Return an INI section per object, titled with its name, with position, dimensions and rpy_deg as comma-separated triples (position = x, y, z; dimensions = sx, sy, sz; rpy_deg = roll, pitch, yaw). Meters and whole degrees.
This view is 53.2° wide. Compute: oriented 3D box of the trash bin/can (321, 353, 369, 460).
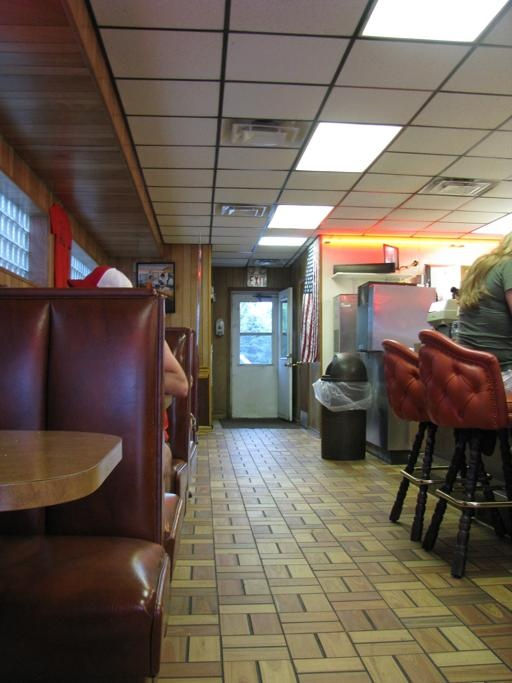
[trash bin/can]
position = 0.834, 0.621, 4.828
dimensions = 0.424, 1.001, 0.264
rpy_deg = -1, -3, 9
